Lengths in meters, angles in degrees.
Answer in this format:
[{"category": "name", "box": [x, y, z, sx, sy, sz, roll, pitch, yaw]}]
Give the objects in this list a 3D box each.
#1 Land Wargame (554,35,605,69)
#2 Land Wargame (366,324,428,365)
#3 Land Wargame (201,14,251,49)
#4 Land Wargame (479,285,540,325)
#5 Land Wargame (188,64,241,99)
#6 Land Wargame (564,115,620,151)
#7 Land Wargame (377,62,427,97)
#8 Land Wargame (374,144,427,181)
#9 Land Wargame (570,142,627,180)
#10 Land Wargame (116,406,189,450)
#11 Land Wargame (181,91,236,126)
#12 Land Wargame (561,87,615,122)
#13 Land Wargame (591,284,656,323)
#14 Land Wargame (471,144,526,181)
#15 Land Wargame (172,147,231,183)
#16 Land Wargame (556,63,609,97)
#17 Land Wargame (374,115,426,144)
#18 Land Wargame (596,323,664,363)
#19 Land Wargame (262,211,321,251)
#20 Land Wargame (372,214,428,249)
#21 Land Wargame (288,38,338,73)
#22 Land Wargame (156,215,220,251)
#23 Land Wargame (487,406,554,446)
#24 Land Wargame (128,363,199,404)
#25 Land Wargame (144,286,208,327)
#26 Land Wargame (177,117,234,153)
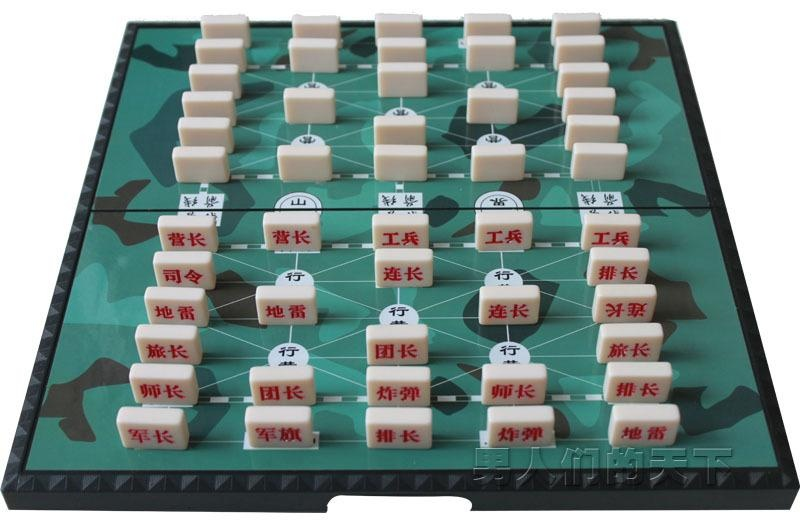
[{"category": "Land Wargame", "box": [1.355, -1.627, 9.202, 0.453, 0.180, 0.112, 0, 27, 1]}, {"category": "Land Wargame", "box": [0.031, 0.548, 7.790, 0.485, 0.194, 0.154, -5, -10, 33]}, {"category": "Land Wargame", "box": [-1.346, -1.855, 9.422, 0.558, 0.266, 0.216, 1, 44, -2]}, {"category": "Land Wargame", "box": [0.708, 0.239, 7.969, 0.395, 0.268, 0.195, -2, 34, 5]}, {"category": "Land Wargame", "box": [-1.388, -1.377, 9.043, 0.487, 0.214, 0.114, 1, 43, 0]}, {"category": "Land Wargame", "box": [1.349, -0.938, 8.799, 0.469, 0.193, 0.146, -5, 17, -33]}, {"category": "Land Wargame", "box": [0.020, -1.397, 9.098, 0.629, 0.210, 0.293, 0, 22, 0]}, {"category": "Land Wargame", "box": [0.013, -0.724, 8.614, 0.597, 0.220, 0.285, 0, 32, 0]}, {"category": "Land Wargame", "box": [1.408, -0.744, 8.680, 0.439, 0.195, 0.185, -1, 30, -10]}, {"category": "Land Wargame", "box": [-1.525, 0.999, 7.464, 0.408, 0.178, 0.098, 2, 35, 3]}, {"category": "Land Wargame", "box": [-1.402, -1.152, 8.854, 0.437, 0.192, 0.102, 3, 41, 3]}, {"category": "Land Wargame", "box": [1.373, -1.183, 8.867, 0.444, 0.179, 0.106, 1, 31, 2]}, {"category": "Land Wargame", "box": [1.457, 0.242, 7.928, 0.384, 0.170, 0.093, 0, 29, 2]}, {"category": "Land Wargame", "box": [0.687, -0.739, 8.663, 0.432, 0.187, 0.173, -2, 30, -2]}, {"category": "Land Wargame", "box": [-1.418, -0.726, 8.619, 0.416, 0.194, 0.097, 1, 43, 2]}, {"category": "Land Wargame", "box": [1.359, -1.389, 9.026, 0.457, 0.192, 0.110, -1, 29, 0]}, {"category": "Land Wargame", "box": [-0.013, -0.975, 8.720, 0.513, 0.245, 0.198, 0, 45, 0]}, {"category": "Land Wargame", "box": [1.462, 0.487, 7.778, 0.429, 0.247, 0.198, -2, 34, 5]}, {"category": "Land Wargame", "box": [-0.820, -0.195, 8.349, 0.452, 0.204, 0.235, -1, -2, -37]}, {"category": "Land Wargame", "box": [0.001, -0.242, 8.219, 0.376, 0.153, 0.090, 0, 43, -1]}, {"category": "Land Wargame", "box": [-0.634, -1.610, 9.311, 0.631, 0.238, 0.298, 0, 34, -1]}, {"category": "Land Wargame", "box": [-1.450, -0.226, 8.260, 0.380, 0.173, 0.090, 2, 39, 3]}, {"category": "Land Wargame", "box": [0.737, 0.979, 7.489, 0.423, 0.257, 0.172, -3, 35, 3]}, {"category": "Land Wargame", "box": [-1.490, 0.740, 7.622, 0.410, 0.193, 0.094, 2, 45, 2]}, {"category": "Land Wargame", "box": [-1.469, 0.266, 7.944, 0.397, 0.184, 0.093, 4, 39, 4]}, {"category": "Land Wargame", "box": [-1.406, -0.944, 8.727, 0.474, 0.216, 0.107, 1, 48, -2]}]
